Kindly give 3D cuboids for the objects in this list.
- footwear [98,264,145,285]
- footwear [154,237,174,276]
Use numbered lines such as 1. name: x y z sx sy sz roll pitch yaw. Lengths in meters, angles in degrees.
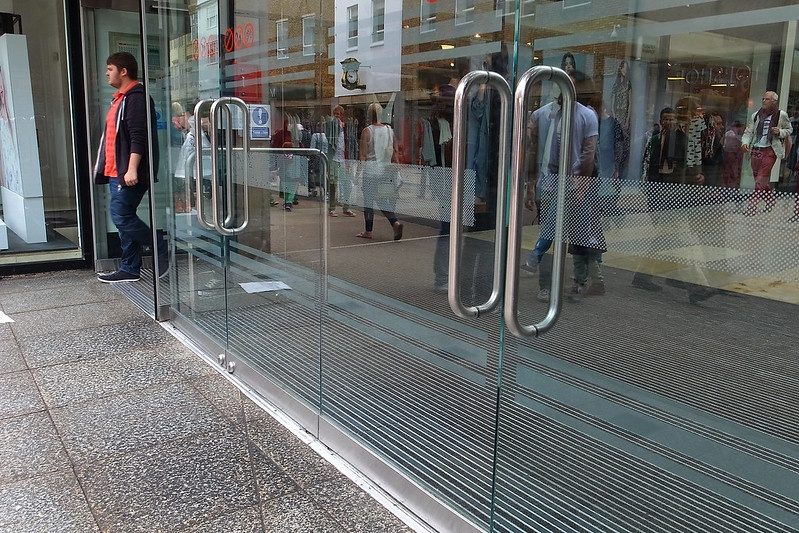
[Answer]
1. footwear: -3.229 0.114 5.822 0.457 0.169 0.175 1 9 -27
2. footwear: -2.070 -0.079 4.469 0.149 0.348 0.123 3 28 -5
